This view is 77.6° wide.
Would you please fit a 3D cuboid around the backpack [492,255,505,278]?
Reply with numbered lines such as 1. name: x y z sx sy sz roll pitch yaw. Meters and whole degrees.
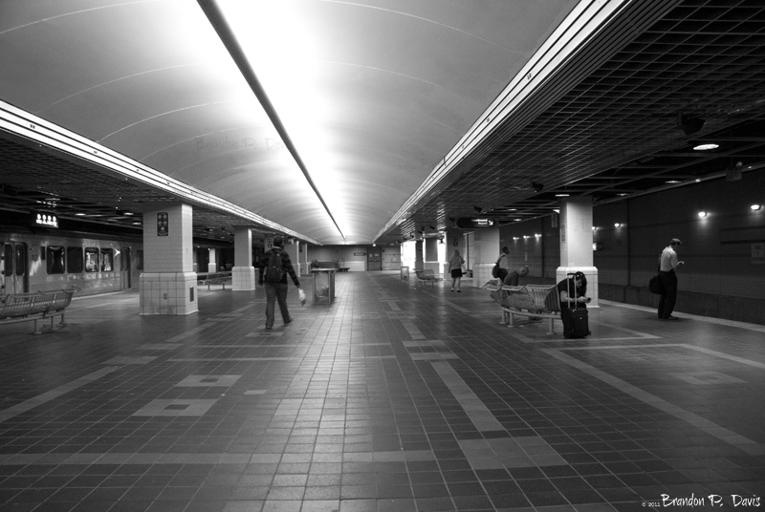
1. backpack: 4.175 0.389 16.899 0.429 0.854 0.889 0 7 10

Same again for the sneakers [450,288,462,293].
1. sneakers: 3.629 1.672 23.240 0.207 0.249 0.644 9 -17 -27

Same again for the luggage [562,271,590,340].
1. luggage: 4.253 1.085 10.410 0.630 1.418 0.568 -1 7 0

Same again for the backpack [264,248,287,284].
1. backpack: -2.727 0.237 12.081 0.533 0.880 0.401 -2 7 -11
